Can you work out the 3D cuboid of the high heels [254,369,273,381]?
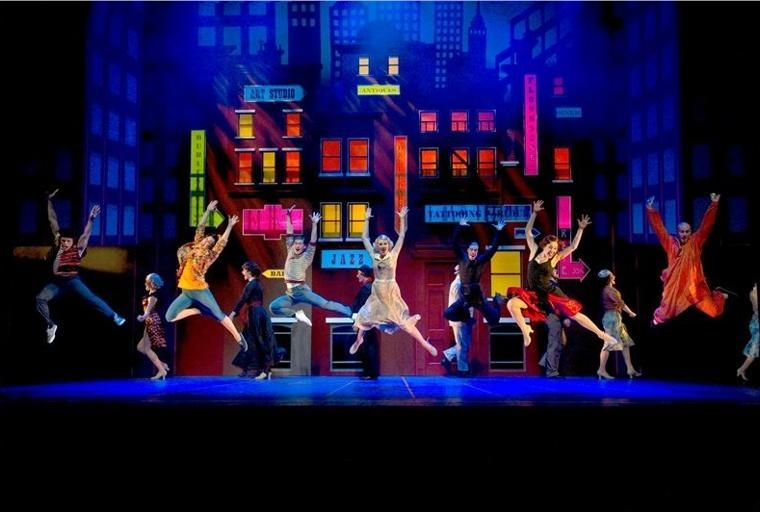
[{"bbox_3d":[-2.723,2.727,19.065,0.506,0.243,0.164,1,-10,15],"label":"high heels"}]

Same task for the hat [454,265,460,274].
[{"bbox_3d":[1.798,0.308,19.400,0.065,0.187,0.121,6,-7,-33],"label":"hat"}]

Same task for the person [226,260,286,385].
[{"bbox_3d":[-2.775,1.467,18.910,1.088,2.619,0.500,3,0,-6],"label":"person"}]

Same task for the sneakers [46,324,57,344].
[{"bbox_3d":[-7.567,1.787,19.220,0.190,0.487,0.171,11,-28,-19],"label":"sneakers"}]

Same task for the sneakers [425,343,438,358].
[{"bbox_3d":[1.191,2.214,19.524,0.249,0.135,0.667,-4,29,-2],"label":"sneakers"}]

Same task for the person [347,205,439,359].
[{"bbox_3d":[0.160,0.547,18.291,1.440,3.265,0.812,3,0,-2],"label":"person"}]
